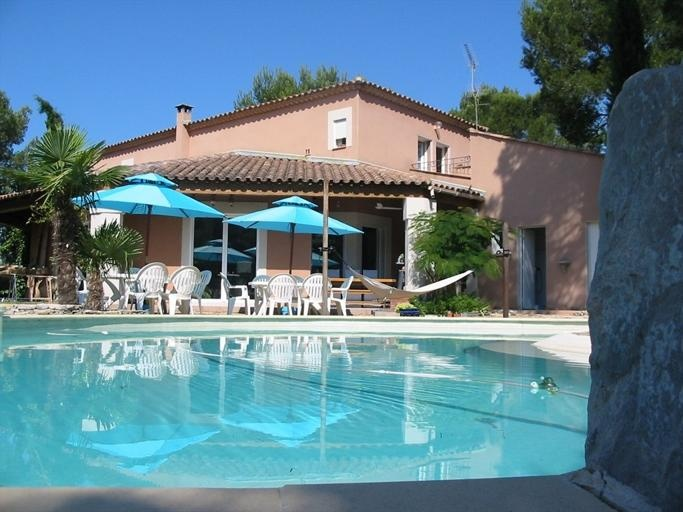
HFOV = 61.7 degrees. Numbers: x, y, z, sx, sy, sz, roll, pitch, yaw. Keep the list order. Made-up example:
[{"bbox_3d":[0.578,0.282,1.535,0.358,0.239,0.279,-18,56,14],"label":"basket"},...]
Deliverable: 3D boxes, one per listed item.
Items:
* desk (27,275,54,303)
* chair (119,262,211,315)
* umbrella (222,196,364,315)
[{"bbox_3d":[-8.308,0.863,15.774,0.645,0.595,1.720,2,-3,-29],"label":"desk"},{"bbox_3d":[-3.554,0.586,11.148,1.131,0.854,1.267,2,1,27],"label":"chair"},{"bbox_3d":[-1.410,-0.013,14.264,2.372,1.937,2.494,1,-9,-1],"label":"umbrella"}]
